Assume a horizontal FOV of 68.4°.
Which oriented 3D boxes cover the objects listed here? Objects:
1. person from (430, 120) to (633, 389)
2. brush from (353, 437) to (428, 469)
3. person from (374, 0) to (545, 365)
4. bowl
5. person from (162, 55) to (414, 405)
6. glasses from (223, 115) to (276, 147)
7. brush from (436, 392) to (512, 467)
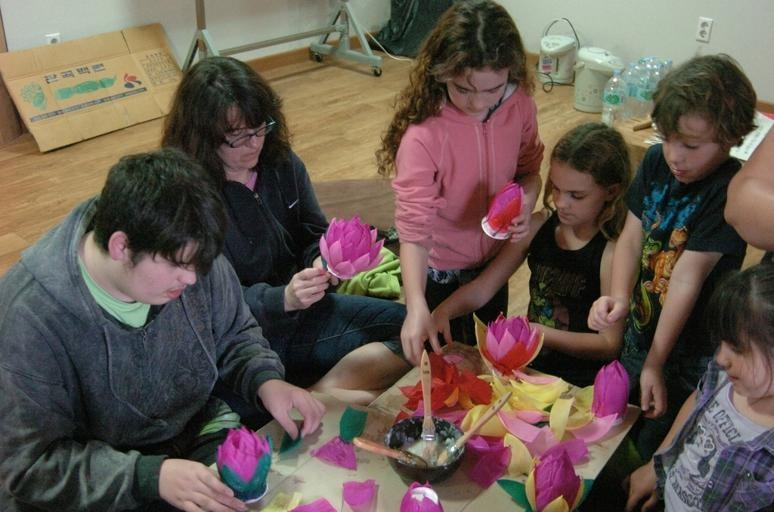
[{"bbox_3d":[0.548,0.152,2.115,0.742,1.143,0.572,-11,27,-3],"label":"person"},{"bbox_3d":[0.011,0.526,1.513,0.122,0.029,0.032,22,39,0],"label":"brush"},{"bbox_3d":[0.305,-0.237,1.937,0.617,1.148,0.666,-6,24,0],"label":"person"},{"bbox_3d":[0.095,0.554,1.526,0.187,0.092,0.194,1,-11,0],"label":"bowl"},{"bbox_3d":[-0.369,-0.081,2.076,0.896,1.123,0.636,16,32,27],"label":"person"},{"bbox_3d":[-0.450,-0.418,1.940,0.074,0.071,0.220,18,34,41],"label":"glasses"},{"bbox_3d":[0.239,0.483,1.562,0.038,0.203,0.040,28,23,-13],"label":"brush"}]
